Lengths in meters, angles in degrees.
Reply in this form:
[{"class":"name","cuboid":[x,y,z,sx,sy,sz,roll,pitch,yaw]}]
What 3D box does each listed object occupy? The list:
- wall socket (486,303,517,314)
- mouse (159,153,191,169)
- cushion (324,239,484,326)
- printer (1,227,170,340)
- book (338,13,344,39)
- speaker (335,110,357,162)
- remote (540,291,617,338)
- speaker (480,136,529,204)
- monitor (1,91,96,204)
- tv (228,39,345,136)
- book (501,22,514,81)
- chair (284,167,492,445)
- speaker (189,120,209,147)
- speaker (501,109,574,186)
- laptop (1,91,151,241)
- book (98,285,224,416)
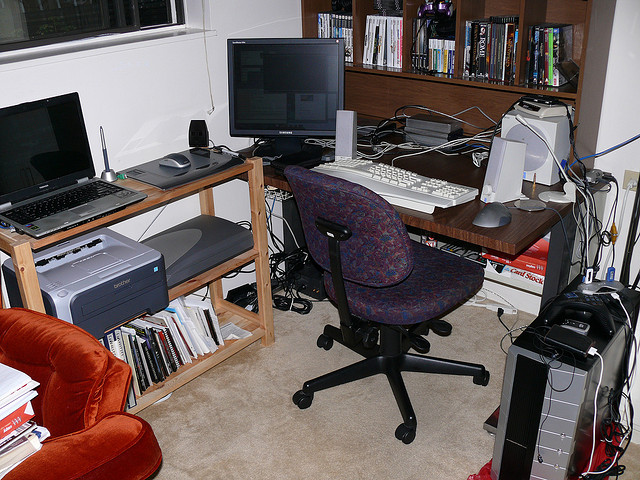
[{"class":"wall socket","cuboid":[1.059,0.392,2.891,0.173,0.046,0.066,6,26,14]},{"class":"mouse","cuboid":[-0.662,-0.376,2.280,0.123,0.040,0.070,13,26,24]},{"class":"cushion","cuboid":[0.528,0.151,2.201,0.409,0.073,0.407,-18,22,-19]},{"class":"printer","cuboid":[-0.984,0.053,2.034,0.471,0.295,0.480,25,36,33]},{"class":"book","cuboid":[0.125,-1.312,3.008,0.027,0.128,0.033,8,27,19]},{"class":"speaker","cuboid":[0.132,-0.533,2.512,0.114,0.266,0.092,2,4,6]},{"class":"remote","cuboid":[1.012,0.256,1.926,0.255,0.108,0.195,4,34,41]},{"class":"speaker","cuboid":[0.794,-0.294,2.101,0.179,0.261,0.151,10,28,22]},{"class":"monitor","cuboid":[-1.134,-0.376,2.042,0.267,0.262,0.369,30,40,29]},{"class":"tv","cuboid":[-0.176,-0.830,2.610,0.576,0.414,0.052,1,16,0]},{"class":"book","cuboid":[0.951,-0.977,2.521,0.033,0.247,0.190,8,30,18]},{"class":"chair","cuboid":[0.285,0.190,2.218,0.936,1.094,0.821,-11,25,-16]},{"class":"speaker","cuboid":[-0.623,-0.549,2.546,0.094,0.136,0.143,-3,25,-4]},{"class":"speaker","cuboid":[1.042,-0.466,2.352,0.226,0.301,0.294,-21,30,-26]},{"class":"laptop","cuboid":[-1.037,-0.306,1.933,0.426,0.434,0.462,22,34,39]},{"class":"book","cuboid":[-0.700,0.515,2.349,0.446,0.107,0.490,23,37,37]}]
